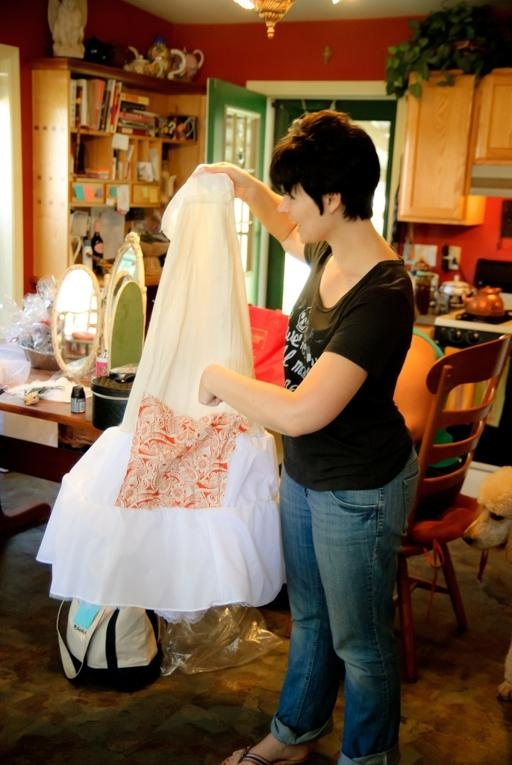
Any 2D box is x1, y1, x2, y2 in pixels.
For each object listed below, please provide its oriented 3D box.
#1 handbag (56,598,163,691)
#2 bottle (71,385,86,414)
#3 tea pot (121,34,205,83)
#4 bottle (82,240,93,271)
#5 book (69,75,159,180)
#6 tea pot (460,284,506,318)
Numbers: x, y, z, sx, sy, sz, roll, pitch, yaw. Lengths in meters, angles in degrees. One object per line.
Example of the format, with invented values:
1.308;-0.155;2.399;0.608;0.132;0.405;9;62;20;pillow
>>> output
-0.399;0.718;1.624;0.291;0.266;0.209;2;5;-17;handbag
-0.569;0.055;1.856;0.049;0.081;0.106;2;5;-17;bottle
-0.657;-2.316;4.182;0.374;0.312;0.642;18;19;36;tea pot
-1.080;-0.828;3.718;0.070;0.183;0.226;2;5;-17;bottle
-0.961;-1.676;3.840;0.355;0.701;0.842;4;5;4;book
1.321;-0.472;3.357;0.174;0.173;0.261;7;15;33;tea pot
